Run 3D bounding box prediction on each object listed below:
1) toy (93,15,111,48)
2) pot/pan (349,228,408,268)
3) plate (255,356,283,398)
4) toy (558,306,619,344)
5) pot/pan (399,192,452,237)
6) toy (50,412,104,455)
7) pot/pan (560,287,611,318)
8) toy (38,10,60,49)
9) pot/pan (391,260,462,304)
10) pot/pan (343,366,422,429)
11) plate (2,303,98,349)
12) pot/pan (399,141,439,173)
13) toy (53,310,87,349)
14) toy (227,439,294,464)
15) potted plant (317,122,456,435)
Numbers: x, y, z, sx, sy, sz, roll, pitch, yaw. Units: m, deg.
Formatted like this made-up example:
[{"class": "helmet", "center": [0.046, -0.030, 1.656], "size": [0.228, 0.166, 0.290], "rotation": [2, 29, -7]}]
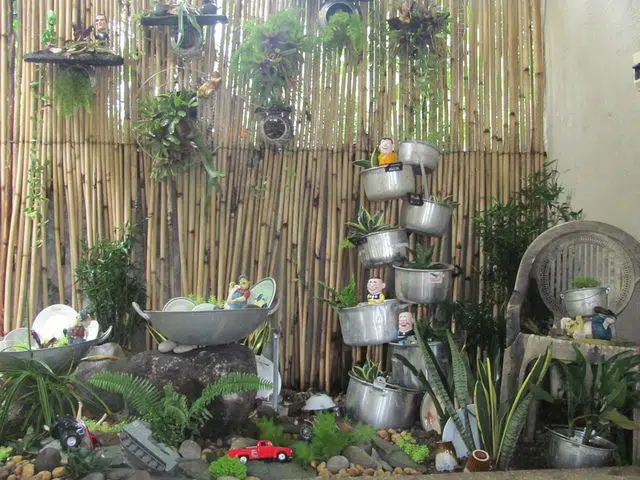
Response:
[{"class": "toy", "center": [-1.634, -1.572, 5.551], "size": [0.097, 0.260, 0.150], "rotation": [1, 5, 2]}, {"class": "pot/pan", "center": [0.427, 0.090, 5.103], "size": [0.268, 0.147, 0.249], "rotation": [-10, -11, 11]}, {"class": "plate", "center": [-0.375, 0.924, 5.063], "size": [0.188, 0.311, 0.068], "rotation": [-9, -9, -5]}, {"class": "toy", "center": [1.636, 0.523, 4.563], "size": [0.187, 0.144, 0.255], "rotation": [15, -12, -33]}, {"class": "pot/pan", "center": [0.733, -0.166, 5.119], "size": [0.268, 0.207, 0.271], "rotation": [15, -10, 4]}, {"class": "toy", "center": [-1.411, 1.133, 4.318], "size": [0.198, 0.150, 0.201], "rotation": [24, -6, -24]}, {"class": "pot/pan", "center": [1.644, 0.377, 4.601], "size": [0.180, 0.156, 0.222], "rotation": [-1, -8, 7]}, {"class": "toy", "center": [-2.029, -1.587, 5.555], "size": [0.120, 0.333, 0.224], "rotation": [-1, 6, -18]}, {"class": "pot/pan", "center": [0.695, 0.302, 5.042], "size": [0.405, 0.290, 0.180], "rotation": [2, 5, 10]}, {"class": "pot/pan", "center": [0.404, 1.027, 4.915], "size": [0.303, 0.198, 0.369], "rotation": [17, -11, 1]}, {"class": "plate", "center": [-1.824, 0.624, 5.016], "size": [0.488, 0.127, 0.345], "rotation": [-13, 49, -25]}, {"class": "pot/pan", "center": [0.682, -0.584, 5.143], "size": [0.198, 0.092, 0.185], "rotation": [19, -9, 20]}, {"class": "toy", "center": [-1.657, 0.602, 4.993], "size": [0.181, 0.254, 0.049], "rotation": [-6, -34, 47]}, {"class": "toy", "center": [-0.355, 1.264, 4.389], "size": [0.306, 0.136, 0.166], "rotation": [1, -13, -8]}, {"class": "potted plant", "center": [0.511, 0.246, 5.080], "size": [0.778, 1.855, 0.356], "rotation": [4, -6, 10]}]
